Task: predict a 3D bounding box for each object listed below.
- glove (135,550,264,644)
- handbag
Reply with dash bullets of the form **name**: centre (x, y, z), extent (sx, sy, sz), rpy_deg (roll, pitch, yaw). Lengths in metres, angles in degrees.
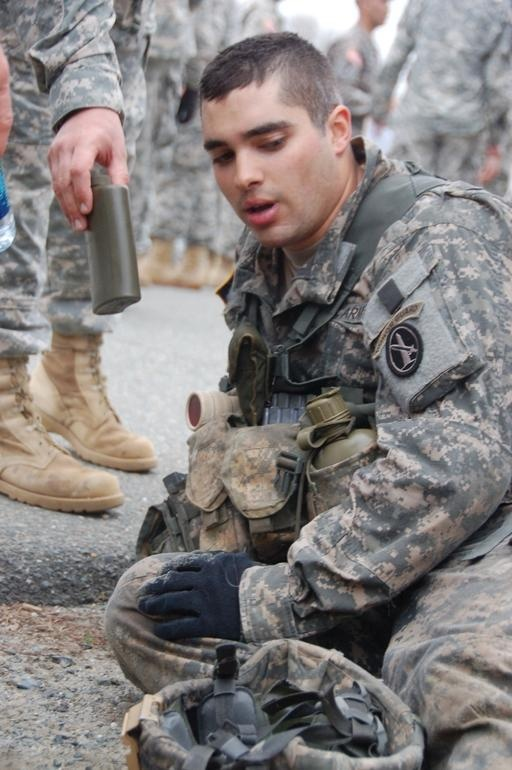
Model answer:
- **glove**: centre (-0.097, 0.368, 1.663), extent (0.155, 0.154, 0.075), rpy_deg (-10, -29, 10)
- **handbag**: centre (-0.029, 0.213, 1.864), extent (0.259, 0.255, 0.135), rpy_deg (-1, -11, 39)
